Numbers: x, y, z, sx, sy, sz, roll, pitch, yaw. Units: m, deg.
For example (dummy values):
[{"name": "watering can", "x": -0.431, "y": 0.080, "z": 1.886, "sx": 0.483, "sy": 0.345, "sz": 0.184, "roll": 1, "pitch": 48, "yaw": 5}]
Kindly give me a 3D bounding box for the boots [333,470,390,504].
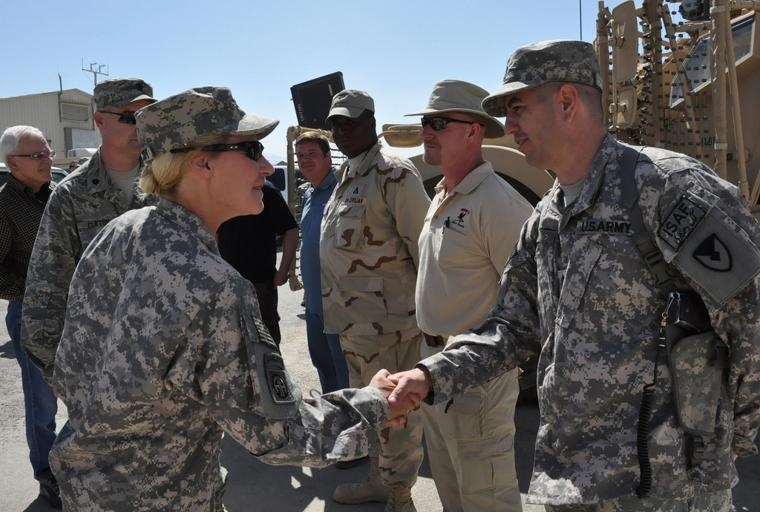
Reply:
[{"name": "boots", "x": -0.105, "y": 1.596, "z": 5.303, "sx": 0.442, "sy": 0.266, "sz": 0.169, "roll": 4, "pitch": -6, "yaw": 4}]
